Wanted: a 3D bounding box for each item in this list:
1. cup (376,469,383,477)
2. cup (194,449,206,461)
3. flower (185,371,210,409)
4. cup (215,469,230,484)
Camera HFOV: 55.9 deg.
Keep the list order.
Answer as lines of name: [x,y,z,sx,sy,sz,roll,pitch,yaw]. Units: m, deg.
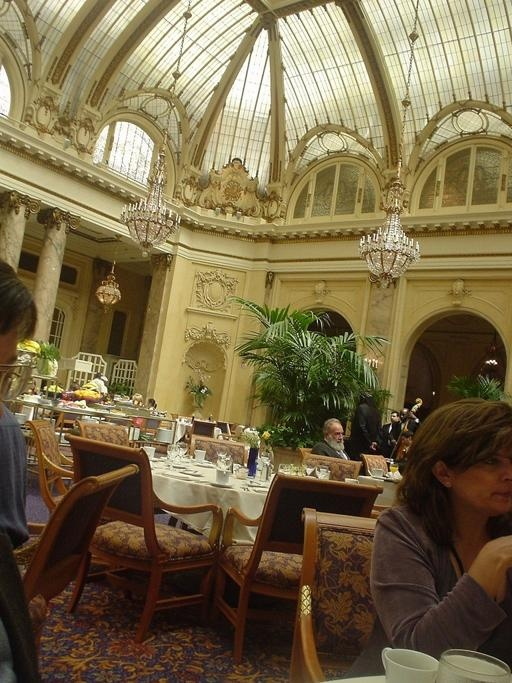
cup: [1.443,1.519,5.585,0.077,0.070,0.096,8,-13,-31]
cup: [-0.488,0.982,4.193,0.085,0.074,0.103,0,-15,5]
flower: [-1.657,1.477,14.058,0.825,1.094,0.897,9,-31,-12]
cup: [-0.222,0.891,3.238,0.093,0.069,0.094,9,-2,0]
